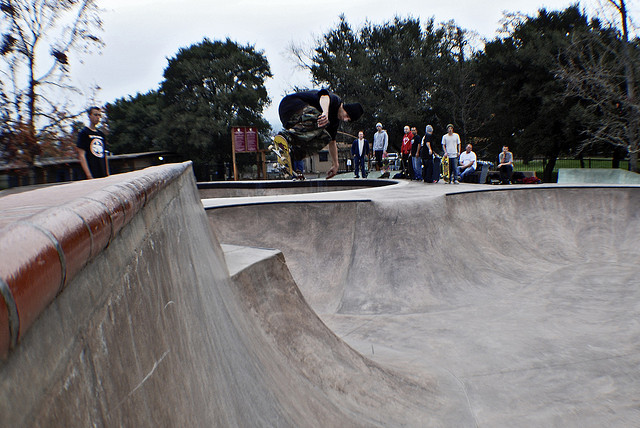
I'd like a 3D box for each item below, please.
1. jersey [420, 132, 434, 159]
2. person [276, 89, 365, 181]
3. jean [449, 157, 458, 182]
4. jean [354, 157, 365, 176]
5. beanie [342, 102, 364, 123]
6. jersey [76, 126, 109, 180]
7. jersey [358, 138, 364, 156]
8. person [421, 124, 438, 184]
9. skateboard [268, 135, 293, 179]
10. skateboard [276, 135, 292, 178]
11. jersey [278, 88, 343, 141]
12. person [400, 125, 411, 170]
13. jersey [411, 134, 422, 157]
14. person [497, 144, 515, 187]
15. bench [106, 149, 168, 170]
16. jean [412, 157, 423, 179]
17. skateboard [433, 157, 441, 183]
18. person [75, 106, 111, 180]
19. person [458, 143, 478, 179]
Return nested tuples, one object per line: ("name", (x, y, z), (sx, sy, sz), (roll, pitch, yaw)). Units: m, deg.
("jersey", (2.413, -1.521, 9.982), (0.225, 0.610, 0.741), (-2, 6, 10))
("person", (-0.018, -1.344, 7.123), (1.334, 1.313, 0.826), (2, 8, 42))
("jean", (3.381, -1.112, 11.183), (0.181, 0.609, 0.528), (-1, 6, 16))
("jean", (1.154, -1.327, 12.613), (0.247, 0.550, 0.750), (-2, 6, 8))
("beanie", (0.525, -1.509, 6.787), (0.290, 0.245, 0.322), (-18, 43, -24))
("jersey", (-2.572, -0.694, 5.034), (0.342, 0.595, 0.313), (-8, 8, -40))
("jersey", (1.155, -1.827, 12.331), (0.162, 0.416, 0.116), (-3, 6, 4))
("person", (2.478, -1.342, 10.025), (0.335, 1.275, 1.000), (-1, 6, 14))
("skateboard", (-0.635, -0.966, 7.485), (0.217, 0.733, 0.269), (-23, 41, -11))
("skateboard", (-0.614, -0.957, 7.452), (0.175, 0.626, 0.213), (4, 26, 24))
("jersey", (-0.162, -1.771, 7.458), (1.065, 0.677, 0.945), (-3, 1, -1))
("person", (2.425, -1.841, 12.405), (0.249, 1.204, 1.388), (-2, 6, 11))
("jersey", (2.375, -1.664, 10.911), (0.236, 0.527, 0.428), (-2, 6, 12))
("person", (5.686, -1.453, 13.464), (0.356, 1.181, 1.565), (0, 6, 22))
("bench", (-9.368, -2.709, 22.677), (2.092, 0.901, 3.960), (-5, 6, -12))
("jean", (2.427, -1.123, 10.980), (0.168, 0.552, 0.377), (-3, 6, -1))
("skateboard", (2.594, -0.974, 9.813), (0.130, 0.539, 0.267), (0, 7, 25))
("person", (-2.574, -0.792, 4.977), (0.310, 0.801, 0.583), (-6, 7, -28))
("person", (4.331, -1.507, 13.148), (0.718, 1.087, 0.516), (-11, 16, -38))
